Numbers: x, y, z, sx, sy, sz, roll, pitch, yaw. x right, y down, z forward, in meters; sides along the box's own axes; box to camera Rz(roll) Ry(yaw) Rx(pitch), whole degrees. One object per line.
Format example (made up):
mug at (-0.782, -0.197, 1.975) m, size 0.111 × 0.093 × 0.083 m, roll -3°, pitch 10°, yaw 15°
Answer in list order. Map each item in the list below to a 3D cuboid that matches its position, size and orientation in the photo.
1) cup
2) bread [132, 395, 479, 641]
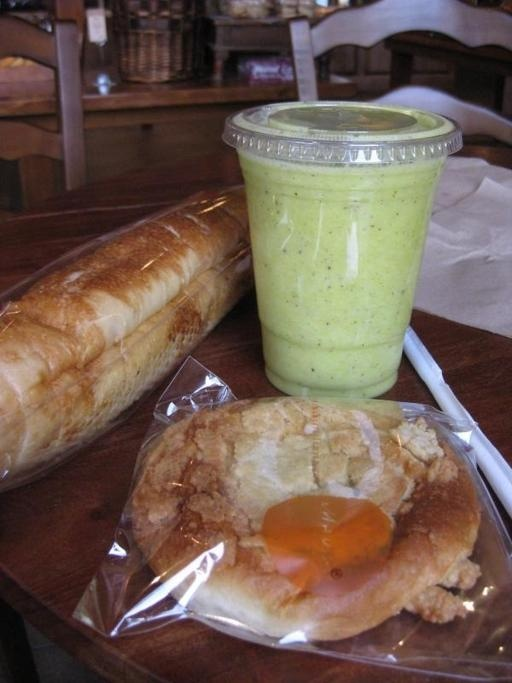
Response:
cup at (0.069, -0.093, 0.595) m, size 0.223 × 0.236 × 0.238 m, roll 0°, pitch 30°, yaw 0°
bread at (0.030, 0.091, 0.358) m, size 0.193 × 0.047 × 0.165 m, roll -7°, pitch 23°, yaw -18°
